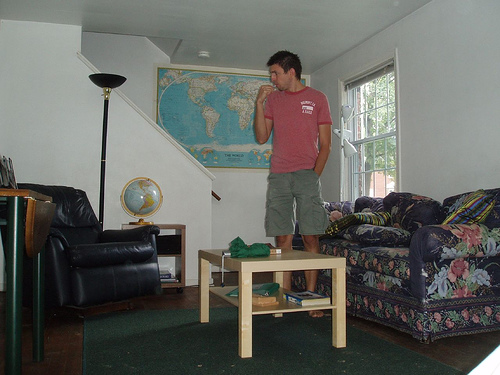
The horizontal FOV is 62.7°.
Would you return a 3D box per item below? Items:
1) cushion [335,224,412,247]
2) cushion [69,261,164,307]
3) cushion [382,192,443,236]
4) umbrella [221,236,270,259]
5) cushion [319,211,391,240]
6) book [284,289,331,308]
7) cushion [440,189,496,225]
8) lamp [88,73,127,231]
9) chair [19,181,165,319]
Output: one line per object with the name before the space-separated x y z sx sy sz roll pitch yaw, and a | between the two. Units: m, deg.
cushion | 1.034 0.372 3.270 0.147 0.083 0.390 -43 19 -30
cushion | -1.040 0.740 3.214 0.696 0.277 0.090 1 -2 -37
cushion | 1.385 0.204 3.570 0.312 0.366 0.451 3 1 -15
umbrella | -0.028 0.369 2.556 0.312 0.123 0.236 0 -2 -3
cushion | 0.975 0.318 3.817 0.455 0.253 0.574 3 0 -38
book | 0.366 0.697 2.588 0.215 0.054 0.330 1 -2 -21
cushion | 1.594 0.135 2.930 0.084 0.284 0.278 42 -23 -20
lamp | -1.473 -0.363 4.282 0.313 1.794 0.327 4 1 -10
chair | -1.457 0.486 3.510 1.211 1.080 1.218 1 -8 -31
